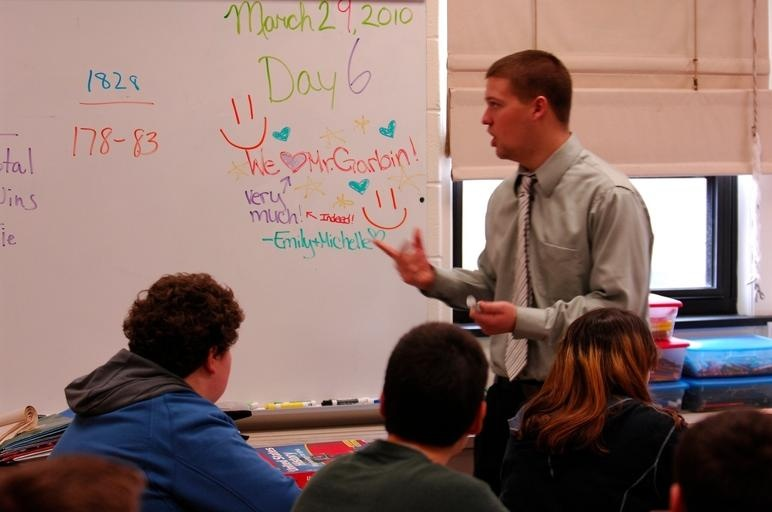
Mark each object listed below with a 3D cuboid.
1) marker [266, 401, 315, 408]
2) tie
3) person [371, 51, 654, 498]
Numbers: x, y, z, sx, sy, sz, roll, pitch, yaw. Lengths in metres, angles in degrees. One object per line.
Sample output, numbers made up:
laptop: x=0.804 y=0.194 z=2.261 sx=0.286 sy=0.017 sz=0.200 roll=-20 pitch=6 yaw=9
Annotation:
marker: x=-0.419 y=0.639 z=2.842 sx=0.141 sy=0.025 sz=0.027 roll=-2 pitch=2 yaw=-11
tie: x=0.479 y=0.068 z=2.329 sx=0.090 sy=0.775 sz=0.104 roll=-5 pitch=-15 yaw=38
person: x=0.503 y=0.388 z=2.451 sx=0.831 sy=2.138 sz=0.774 roll=6 pitch=6 yaw=43
